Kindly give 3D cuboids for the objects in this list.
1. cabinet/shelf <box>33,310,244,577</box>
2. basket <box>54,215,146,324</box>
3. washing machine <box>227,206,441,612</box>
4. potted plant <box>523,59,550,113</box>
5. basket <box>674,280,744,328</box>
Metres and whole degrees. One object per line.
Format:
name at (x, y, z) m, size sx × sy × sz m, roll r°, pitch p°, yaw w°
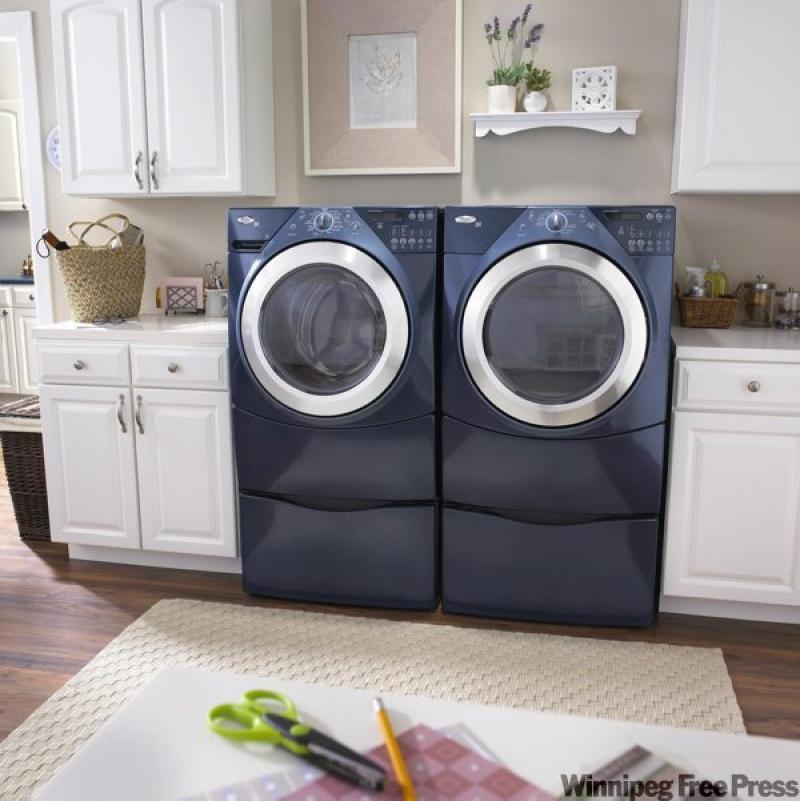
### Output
cabinet/shelf at (-0.857, 0.158, 2.835) m, size 0.732 × 0.916 × 0.541 m, roll 2°, pitch 11°, yaw 12°
basket at (-1.141, -0.537, 2.925) m, size 0.300 × 0.401 × 0.520 m, roll -4°, pitch 14°, yaw -17°
washing machine at (-0.170, 0.013, 2.633) m, size 0.796 × 1.223 × 0.746 m, roll 0°, pitch 1°, yaw 24°
potted plant at (0.491, -1.142, 2.688) m, size 0.099 × 0.192 × 0.123 m, roll 2°, pitch 13°, yaw 9°
basket at (1.059, -0.320, 2.604) m, size 0.179 × 0.118 × 0.175 m, roll 2°, pitch 13°, yaw 9°
